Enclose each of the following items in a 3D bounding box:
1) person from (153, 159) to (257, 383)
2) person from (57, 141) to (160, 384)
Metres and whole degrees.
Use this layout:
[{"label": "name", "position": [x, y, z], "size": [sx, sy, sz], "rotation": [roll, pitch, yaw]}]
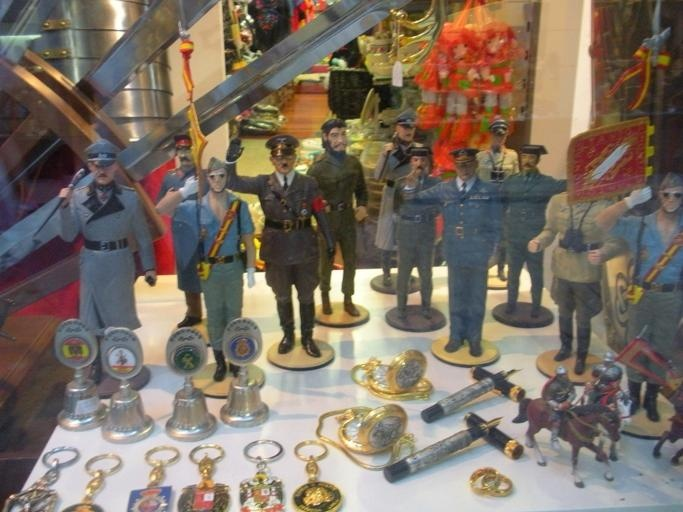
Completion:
[{"label": "person", "position": [-0.718, 0.108, 3.220], "size": [0.426, 1.256, 0.258], "rotation": [-2, 7, 20]}, {"label": "person", "position": [-1.265, -0.086, 3.156], "size": [0.456, 1.029, 0.244], "rotation": [-6, 6, -18]}]
